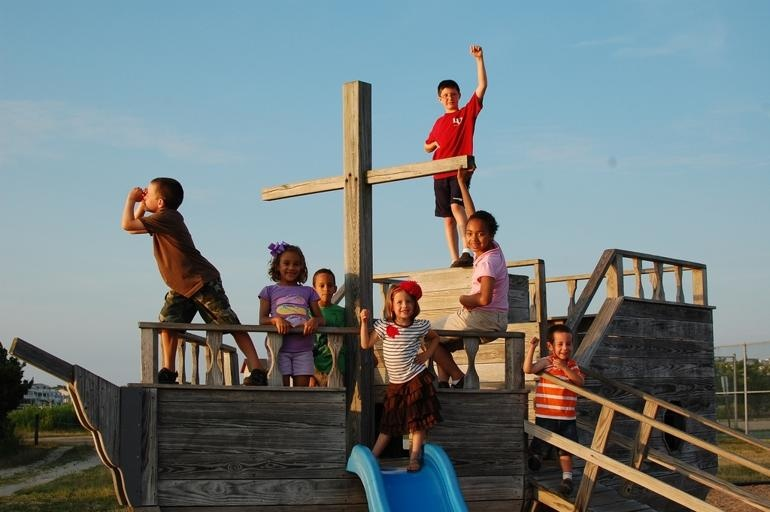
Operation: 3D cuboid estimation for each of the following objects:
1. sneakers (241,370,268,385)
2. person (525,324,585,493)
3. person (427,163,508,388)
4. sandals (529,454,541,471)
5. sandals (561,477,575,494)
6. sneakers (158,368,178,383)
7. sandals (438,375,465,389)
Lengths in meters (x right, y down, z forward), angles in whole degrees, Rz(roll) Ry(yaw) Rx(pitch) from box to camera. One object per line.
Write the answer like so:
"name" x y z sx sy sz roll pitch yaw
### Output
"sneakers" -2.034 1.892 21.888 0.340 0.239 0.258 -5 -1 -6
"person" 2.827 2.481 22.885 0.809 2.727 1.202 -6 -1 34
"person" 1.407 0.364 22.710 1.215 3.432 0.905 -5 -1 3
"sandals" 2.463 3.336 22.676 0.191 0.233 0.240 1 -2 0
"sandals" 2.976 3.679 22.444 0.123 0.147 0.348 0 -46 4
"sneakers" -3.431 1.852 21.783 0.301 0.222 0.670 -5 -1 -9
"sandals" 1.095 2.051 22.533 0.167 0.168 0.450 4 -4 -38
